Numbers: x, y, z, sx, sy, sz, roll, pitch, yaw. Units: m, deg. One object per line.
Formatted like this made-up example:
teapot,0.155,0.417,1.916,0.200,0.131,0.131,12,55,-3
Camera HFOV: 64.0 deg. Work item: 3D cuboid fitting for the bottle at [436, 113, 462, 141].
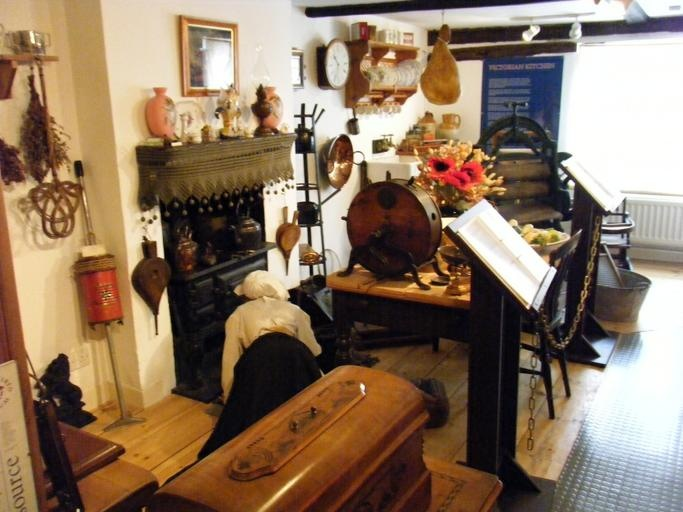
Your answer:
bottle,1.407,-1.815,7.701,0.391,0.408,0.345,-1,13,-8

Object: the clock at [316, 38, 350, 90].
clock,-0.116,-2.063,5.884,0.189,0.529,0.537,6,16,26

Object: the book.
book,0.836,0.035,2.845,0.125,0.479,0.484,-43,-6,32

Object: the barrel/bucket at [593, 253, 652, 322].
barrel/bucket,2.760,0.350,5.667,0.626,0.487,0.760,-3,12,2

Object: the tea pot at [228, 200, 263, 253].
tea pot,-0.847,-0.243,4.728,0.228,0.385,0.389,3,16,13

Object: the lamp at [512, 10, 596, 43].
lamp,2.384,-2.608,6.289,0.894,0.310,1.235,2,15,15

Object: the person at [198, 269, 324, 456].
person,-0.504,0.651,3.413,0.737,0.901,0.754,-3,16,-3

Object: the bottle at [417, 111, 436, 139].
bottle,1.160,-1.781,7.526,0.264,0.378,0.681,0,15,9

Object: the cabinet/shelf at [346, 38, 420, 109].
cabinet/shelf,0.459,-2.146,6.552,0.299,0.707,1.165,5,17,28

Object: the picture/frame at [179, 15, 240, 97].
picture/frame,-1.017,-1.522,4.246,0.643,0.553,0.039,16,23,32

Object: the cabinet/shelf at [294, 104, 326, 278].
cabinet/shelf,-0.308,-0.608,5.713,0.350,1.887,1.055,-3,16,-1

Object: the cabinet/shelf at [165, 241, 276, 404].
cabinet/shelf,-0.923,0.524,3.972,0.433,0.988,1.093,6,12,24
